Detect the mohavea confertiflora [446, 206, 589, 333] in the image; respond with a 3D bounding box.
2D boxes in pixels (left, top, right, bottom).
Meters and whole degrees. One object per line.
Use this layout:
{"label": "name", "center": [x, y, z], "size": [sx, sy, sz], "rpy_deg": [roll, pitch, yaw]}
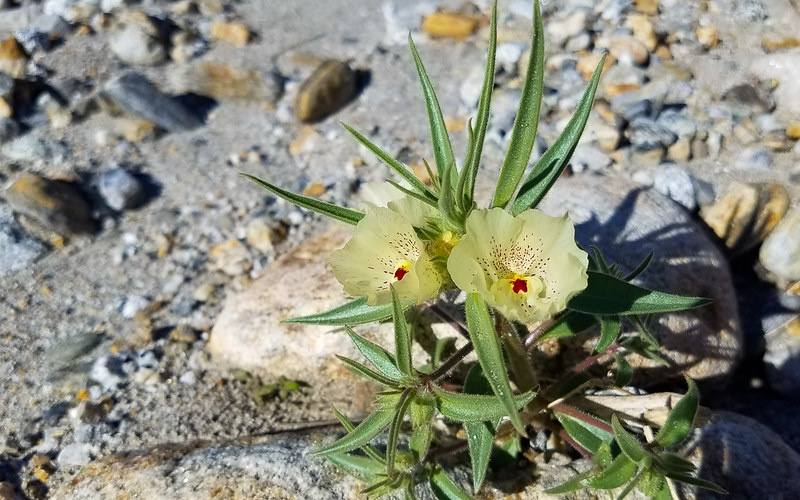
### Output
{"label": "mohavea confertiflora", "center": [0.731, -0.057, 5.047], "size": [0.669, 0.716, 0.300], "rpy_deg": [7, 103, 37]}
